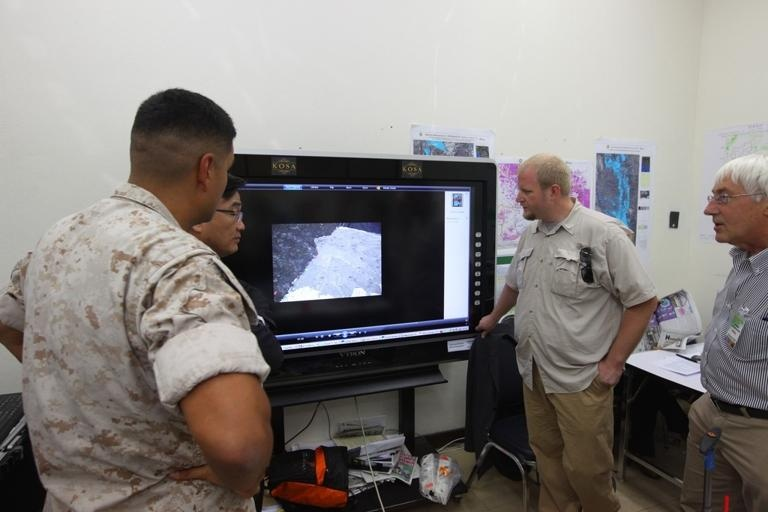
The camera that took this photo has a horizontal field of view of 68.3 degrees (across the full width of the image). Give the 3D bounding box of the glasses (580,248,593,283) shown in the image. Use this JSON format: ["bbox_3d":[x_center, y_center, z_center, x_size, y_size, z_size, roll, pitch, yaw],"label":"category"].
[{"bbox_3d":[1.101,0.055,3.073,0.065,0.193,0.052,-3,8,8],"label":"glasses"}]

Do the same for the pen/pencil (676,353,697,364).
[{"bbox_3d":[1.954,0.666,3.651,0.012,0.018,0.124,3,11,-29],"label":"pen/pencil"}]

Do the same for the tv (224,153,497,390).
[{"bbox_3d":[-0.168,0.050,3.110,1.392,1.018,0.149,-2,4,-18],"label":"tv"}]
